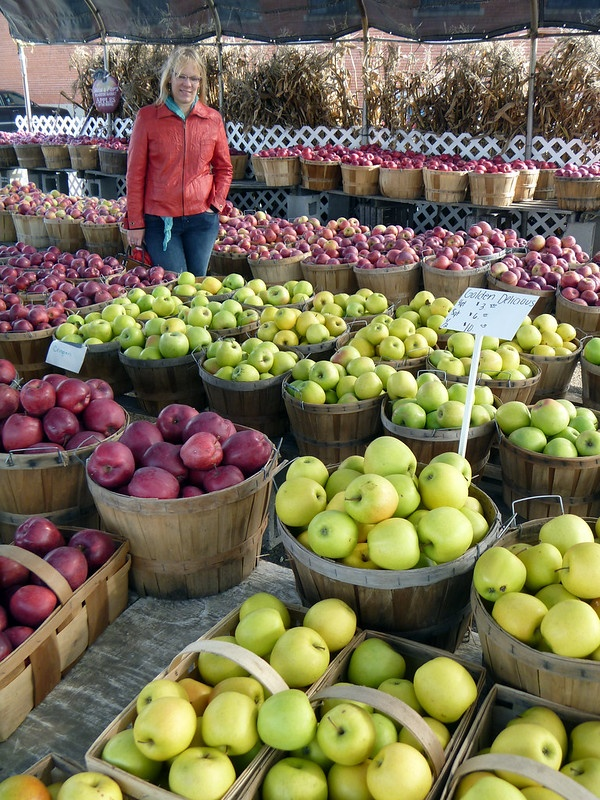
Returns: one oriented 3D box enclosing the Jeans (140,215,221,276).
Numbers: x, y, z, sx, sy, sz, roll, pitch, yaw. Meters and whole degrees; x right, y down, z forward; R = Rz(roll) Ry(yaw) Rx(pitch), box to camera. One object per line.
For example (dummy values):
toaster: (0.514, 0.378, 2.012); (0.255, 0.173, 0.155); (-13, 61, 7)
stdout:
Jeans: (-1.112, -1.400, 5.497); (0.502, 0.830, 0.308); (-17, 41, -18)
